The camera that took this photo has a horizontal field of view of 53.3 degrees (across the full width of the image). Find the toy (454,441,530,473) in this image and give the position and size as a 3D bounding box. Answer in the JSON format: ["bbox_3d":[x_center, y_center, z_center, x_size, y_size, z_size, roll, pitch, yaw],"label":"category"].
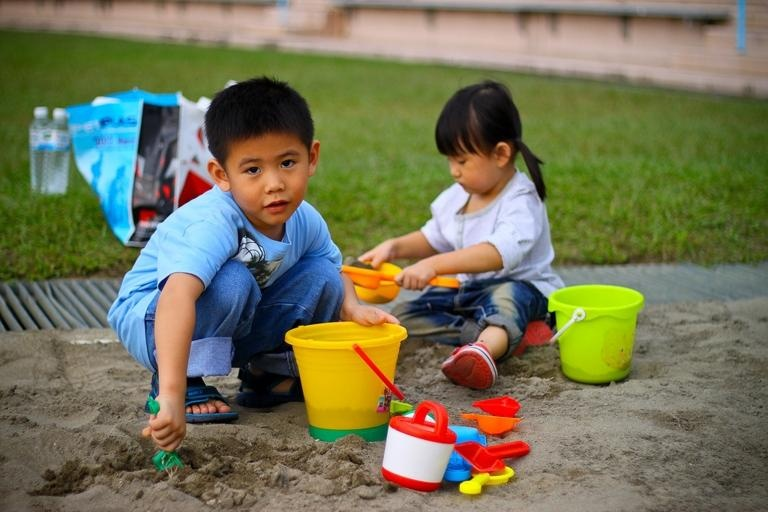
[{"bbox_3d":[0.381,0.668,2.618,0.168,0.036,0.119,-8,30,-30],"label":"toy"}]

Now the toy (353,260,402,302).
[{"bbox_3d":[-0.019,0.117,3.385,0.152,0.112,0.186,-17,2,-28],"label":"toy"}]

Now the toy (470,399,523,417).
[{"bbox_3d":[0.435,0.564,2.874,0.108,0.041,0.085,2,0,12],"label":"toy"}]

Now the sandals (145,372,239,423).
[{"bbox_3d":[-0.672,0.524,2.848,0.439,0.185,0.148,-2,-1,4],"label":"sandals"}]

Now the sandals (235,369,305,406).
[{"bbox_3d":[-0.461,0.532,3.063,0.321,0.144,0.111,-3,20,3],"label":"sandals"}]

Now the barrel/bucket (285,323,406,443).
[{"bbox_3d":[-0.136,0.473,2.900,0.441,0.385,0.463,0,2,0],"label":"barrel/bucket"}]

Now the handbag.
[{"bbox_3d":[-1.335,-0.487,4.527,0.894,0.874,1.151,-4,-2,14],"label":"handbag"}]

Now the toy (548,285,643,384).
[{"bbox_3d":[0.873,0.280,3.223,0.440,0.386,0.472,-7,19,12],"label":"toy"}]

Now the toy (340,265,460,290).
[{"bbox_3d":[0.054,0.085,3.213,0.326,0.063,0.189,4,-5,6],"label":"toy"}]

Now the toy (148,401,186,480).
[{"bbox_3d":[-0.741,0.624,2.608,0.126,0.230,0.089,-9,7,25],"label":"toy"}]

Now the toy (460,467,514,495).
[{"bbox_3d":[0.339,0.740,2.534,0.132,0.034,0.083,-12,16,-33],"label":"toy"}]

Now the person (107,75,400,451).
[{"bbox_3d":[-0.652,-0.012,2.931,0.817,1.231,1.199,7,11,34],"label":"person"}]

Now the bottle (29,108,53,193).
[{"bbox_3d":[-1.847,-0.576,4.111,0.117,0.440,0.249,-4,14,-25],"label":"bottle"}]

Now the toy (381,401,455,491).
[{"bbox_3d":[0.105,0.626,2.563,0.222,0.277,0.166,-3,13,-21],"label":"toy"}]

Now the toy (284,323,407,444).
[{"bbox_3d":[-0.155,0.430,2.829,0.404,0.348,0.420,-2,3,-6],"label":"toy"}]

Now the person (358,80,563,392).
[{"bbox_3d":[0.517,-0.099,3.947,1.098,1.462,1.397,-5,10,-24],"label":"person"}]

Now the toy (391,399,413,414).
[{"bbox_3d":[0.060,0.558,2.841,0.061,0.026,0.054,11,-9,-24],"label":"toy"}]
